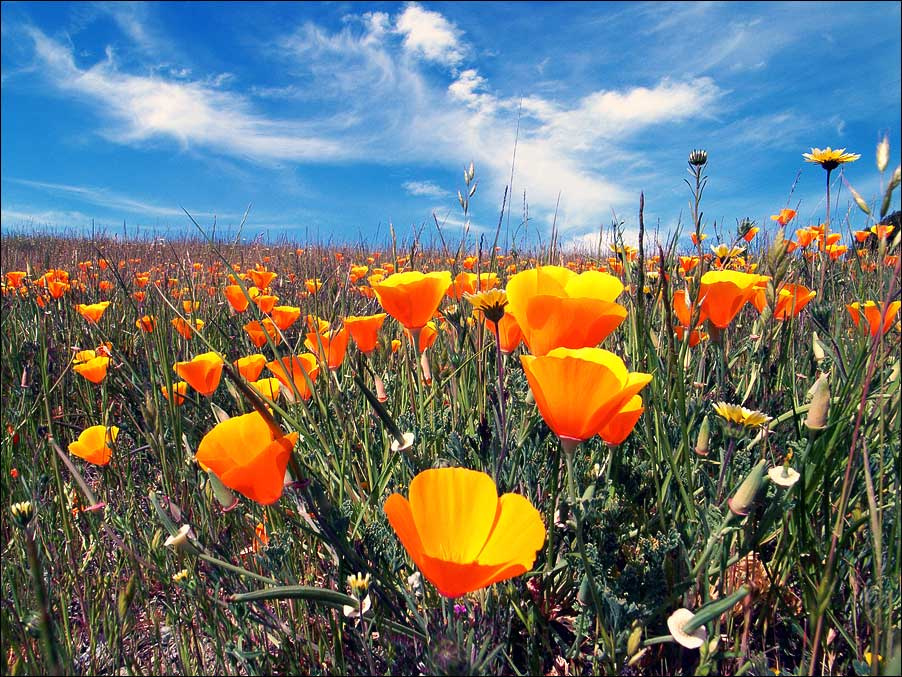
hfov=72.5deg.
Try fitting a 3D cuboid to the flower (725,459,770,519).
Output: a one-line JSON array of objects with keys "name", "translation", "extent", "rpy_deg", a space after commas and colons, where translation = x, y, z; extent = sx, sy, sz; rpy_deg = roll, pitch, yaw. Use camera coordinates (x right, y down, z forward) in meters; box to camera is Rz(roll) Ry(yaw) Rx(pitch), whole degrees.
[{"name": "flower", "translation": [0.772, 0.383, 1.573], "extent": [0.083, 0.152, 0.038], "rpy_deg": [3, 6, 0]}]

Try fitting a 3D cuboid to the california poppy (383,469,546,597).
[{"name": "california poppy", "translation": [0.031, 0.513, 1.587], "extent": [0.434, 0.223, 0.435], "rpy_deg": [22, -39, -27]}]
